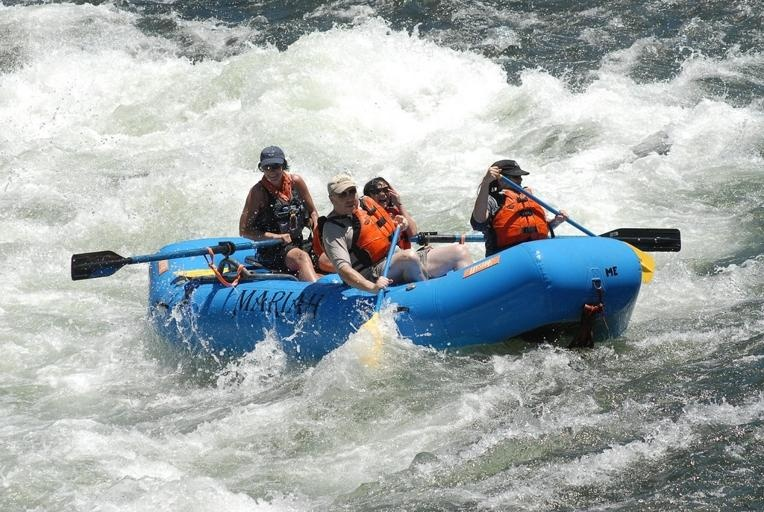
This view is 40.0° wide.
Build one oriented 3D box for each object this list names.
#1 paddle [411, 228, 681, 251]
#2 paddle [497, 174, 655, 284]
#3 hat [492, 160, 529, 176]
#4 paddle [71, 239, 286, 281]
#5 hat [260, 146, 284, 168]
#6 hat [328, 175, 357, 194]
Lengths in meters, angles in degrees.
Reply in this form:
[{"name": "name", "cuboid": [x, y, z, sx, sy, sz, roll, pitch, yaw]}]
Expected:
[{"name": "paddle", "cuboid": [2.121, -0.206, 13.116, 3.172, 0.326, 0.309, -2, 1, -4]}, {"name": "paddle", "cuboid": [2.504, -0.311, 13.426, 2.463, 0.157, 0.498, 34, 32, 25]}, {"name": "hat", "cuboid": [1.585, -1.094, 13.123, 0.397, 0.126, 0.230, 3, 5, -5]}, {"name": "paddle", "cuboid": [-2.663, 0.066, 13.995, 2.981, 0.253, 0.304, -6, -22, 1]}, {"name": "hat", "cuboid": [-1.416, -1.269, 13.535, 0.333, 0.264, 0.259, -1, 8, -3]}, {"name": "hat", "cuboid": [-0.483, -0.852, 12.570, 0.333, 0.224, 0.263, 0, 8, -2]}]
